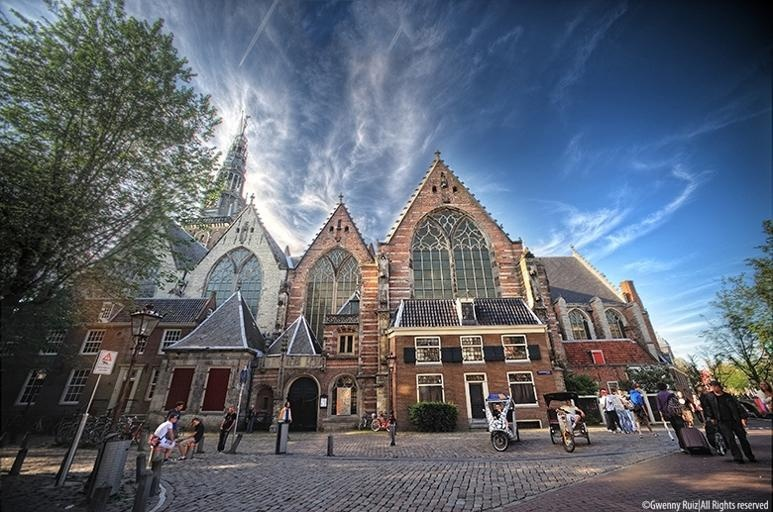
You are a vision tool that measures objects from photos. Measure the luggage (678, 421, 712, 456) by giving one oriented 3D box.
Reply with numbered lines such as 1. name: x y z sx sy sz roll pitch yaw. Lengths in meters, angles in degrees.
1. luggage: 11.215 6.779 11.012 1.000 1.094 1.808 -6 -37 39

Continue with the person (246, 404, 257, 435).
1. person: -9.983 12.263 22.606 0.618 1.605 1.167 8 -29 -16

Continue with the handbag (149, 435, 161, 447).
1. handbag: -9.526 7.730 12.571 0.443 0.211 0.500 9 -20 -37

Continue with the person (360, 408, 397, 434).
1. person: -0.902 12.893 23.290 2.586 1.070 1.383 -9 6 12

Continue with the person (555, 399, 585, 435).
1. person: 8.798 7.833 14.757 1.006 1.453 3.291 -15 -29 24

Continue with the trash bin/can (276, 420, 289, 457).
1. trash bin/can: -5.238 9.217 15.345 0.491 1.418 0.729 7 -29 -15
